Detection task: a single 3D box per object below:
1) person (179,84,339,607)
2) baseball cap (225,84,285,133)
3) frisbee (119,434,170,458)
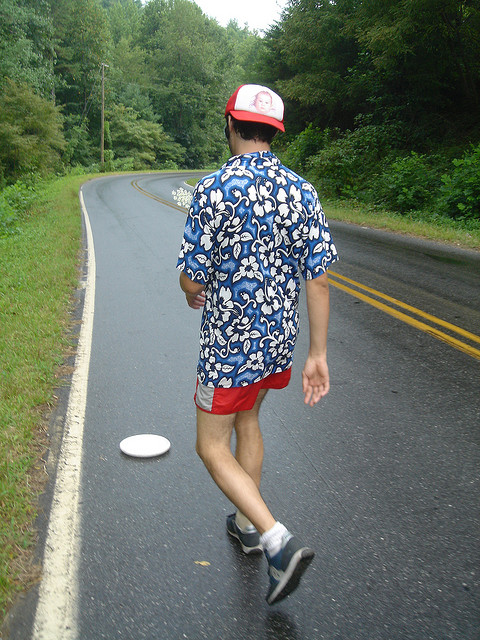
[{"bbox_3d":[0.050,0.107,1.910,0.552,1.874,0.531,4,15,10],"label":"person"},{"bbox_3d":[0.039,-0.764,1.919,0.182,0.120,0.241,5,26,-21],"label":"baseball cap"},{"bbox_3d":[-0.638,0.834,3.430,0.307,0.040,0.276,-7,16,-27],"label":"frisbee"}]
